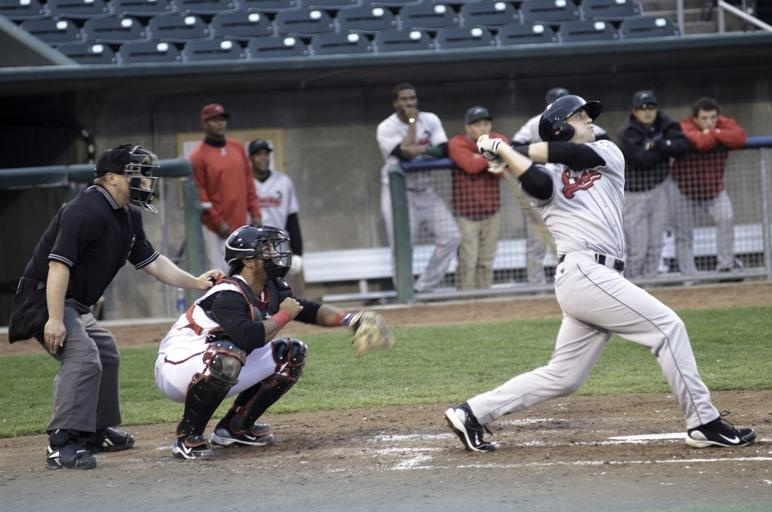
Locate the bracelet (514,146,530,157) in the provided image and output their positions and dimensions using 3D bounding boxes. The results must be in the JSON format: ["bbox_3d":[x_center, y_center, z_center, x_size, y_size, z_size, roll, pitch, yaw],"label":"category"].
[{"bbox_3d":[1.118,-0.856,12.175,0.167,0.096,0.055,16,25,41],"label":"bracelet"}]

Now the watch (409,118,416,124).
[{"bbox_3d":[0.285,-1.420,15.695,0.067,0.057,0.014,1,0,2],"label":"watch"}]

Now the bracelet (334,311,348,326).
[{"bbox_3d":[-0.355,0.509,12.480,0.110,0.092,0.082,-20,4,22],"label":"bracelet"}]

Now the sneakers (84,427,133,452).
[{"bbox_3d":[-2.356,1.519,12.605,0.433,0.182,0.155,-2,6,-8],"label":"sneakers"}]

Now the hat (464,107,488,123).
[{"bbox_3d":[0.949,-1.480,15.519,0.231,0.147,0.287,-2,-3,-7],"label":"hat"}]

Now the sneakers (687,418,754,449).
[{"bbox_3d":[2.683,1.422,12.125,0.603,0.234,0.214,-1,-3,-1],"label":"sneakers"}]

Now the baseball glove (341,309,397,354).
[{"bbox_3d":[-0.137,0.615,12.450,0.456,0.290,0.191,6,13,-6],"label":"baseball glove"}]

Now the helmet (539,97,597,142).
[{"bbox_3d":[1.504,-1.120,12.293,0.492,0.269,0.342,-21,-7,9],"label":"helmet"}]

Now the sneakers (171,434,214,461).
[{"bbox_3d":[-1.587,1.539,12.247,0.342,0.130,0.167,0,1,18],"label":"sneakers"}]

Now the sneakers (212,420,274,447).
[{"bbox_3d":[-1.189,1.465,12.561,0.571,0.223,0.191,-2,-1,-4],"label":"sneakers"}]

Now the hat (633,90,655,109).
[{"bbox_3d":[2.726,-1.627,15.657,0.229,0.150,0.297,-1,9,6],"label":"hat"}]

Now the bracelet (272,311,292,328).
[{"bbox_3d":[-0.858,0.503,12.290,0.116,0.110,0.140,-9,-20,-29],"label":"bracelet"}]

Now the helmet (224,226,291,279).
[{"bbox_3d":[-1.042,-0.052,12.443,0.551,0.374,0.394,-3,3,-2],"label":"helmet"}]

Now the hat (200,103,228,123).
[{"bbox_3d":[-1.746,-1.465,15.383,0.257,0.180,0.214,-3,0,-45],"label":"hat"}]

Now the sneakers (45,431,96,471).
[{"bbox_3d":[-2.482,1.562,12.145,0.507,0.201,0.223,0,1,18],"label":"sneakers"}]

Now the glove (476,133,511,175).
[{"bbox_3d":[0.855,-0.826,12.219,0.108,0.293,0.245,-5,15,36],"label":"glove"}]

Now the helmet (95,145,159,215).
[{"bbox_3d":[-2.118,-0.672,12.678,0.580,0.549,0.486,-4,4,-5],"label":"helmet"}]

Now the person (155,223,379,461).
[{"bbox_3d":[-1.079,0.677,12.406,1.668,1.906,0.496,-4,0,-9],"label":"person"}]

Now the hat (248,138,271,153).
[{"bbox_3d":[-1.367,-1.164,16.019,0.225,0.140,0.295,-4,-1,-17],"label":"hat"}]
